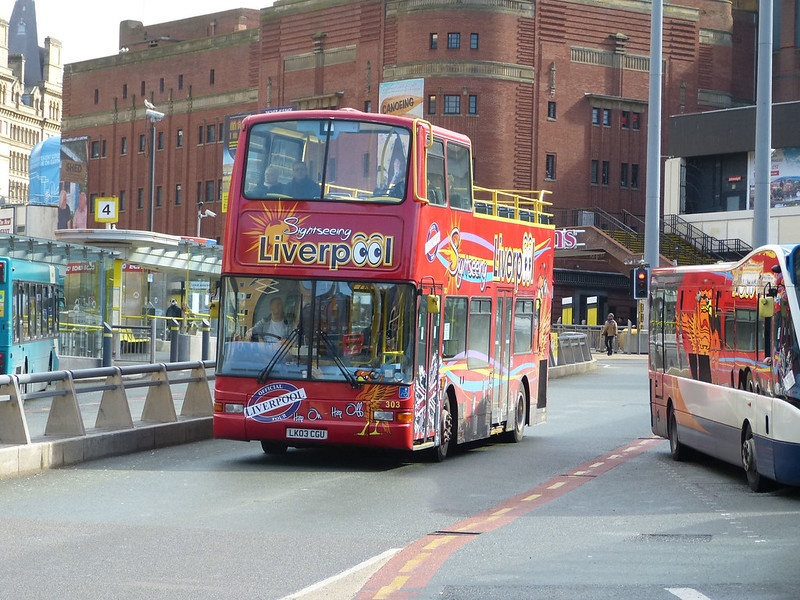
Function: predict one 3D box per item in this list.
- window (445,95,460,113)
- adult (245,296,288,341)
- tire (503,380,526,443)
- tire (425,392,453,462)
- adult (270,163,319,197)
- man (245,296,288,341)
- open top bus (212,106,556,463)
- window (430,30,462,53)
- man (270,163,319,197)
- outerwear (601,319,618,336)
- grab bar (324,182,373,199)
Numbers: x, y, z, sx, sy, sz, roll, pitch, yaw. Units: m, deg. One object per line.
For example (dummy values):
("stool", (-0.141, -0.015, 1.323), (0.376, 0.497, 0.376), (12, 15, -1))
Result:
("window", (3.172, -11.273, 69.934), (0.865, 1.120, 0.053), (3, -5, 24))
("adult", (-1.873, 0.322, 18.030), (0.641, 0.717, 0.971), (1, 6, 12))
("tire", (2.124, 2.051, 22.215), (0.323, 1.162, 1.078), (5, -1, 16))
("tire", (0.632, 1.952, 18.861), (0.378, 1.368, 1.098), (1, -1, 6))
("adult", (-1.488, -1.786, 18.378), (0.409, 0.341, 0.633), (1, -3, 9))
("man", (-1.875, 0.313, 18.042), (0.648, 0.738, 0.971), (1, 5, 11))
("open top bus", (0.148, -0.203, 19.522), (2.521, 5.596, 5.937), (-1, -1, 44))
("window", (2.738, -14.833, 69.509), (1.822, 1.007, 0.266), (0, -1, 17))
("man", (-1.468, -1.781, 18.373), (0.409, 0.341, 0.633), (1, -3, 9))
("outerwear", (10.254, 1.405, 58.426), (0.669, 0.730, 0.378), (0, -7, 36))
("grab bar", (-0.745, -1.616, 18.220), (0.716, 0.236, 0.104), (0, -1, 2))
